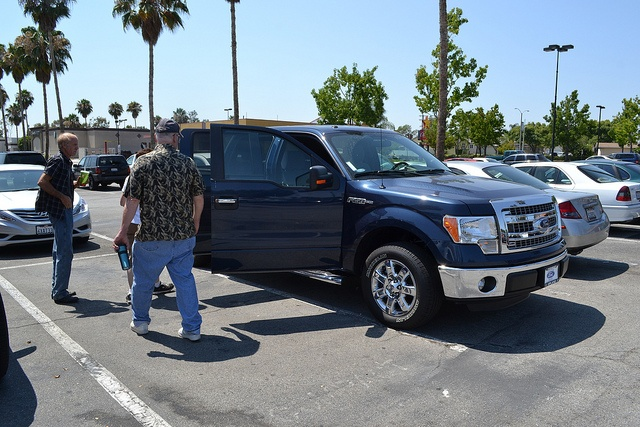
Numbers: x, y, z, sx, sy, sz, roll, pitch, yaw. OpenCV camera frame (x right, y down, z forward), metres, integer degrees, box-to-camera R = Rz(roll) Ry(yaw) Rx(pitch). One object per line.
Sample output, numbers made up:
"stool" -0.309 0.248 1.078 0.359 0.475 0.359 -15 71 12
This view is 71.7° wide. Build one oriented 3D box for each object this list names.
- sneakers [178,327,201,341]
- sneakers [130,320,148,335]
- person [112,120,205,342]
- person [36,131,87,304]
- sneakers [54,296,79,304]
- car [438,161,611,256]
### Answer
"sneakers" -1.561 1.426 5.301 0.306 0.128 0.114 10 11 39
"sneakers" -2.247 1.393 5.473 0.110 0.107 0.264 -2 9 -35
"person" -1.882 0.225 5.250 0.941 2.526 0.559 1 13 7
"person" -3.815 0.059 6.531 0.632 2.413 0.910 -8 15 -29
"sneakers" -3.672 1.252 6.426 0.336 0.130 0.125 -2 6 -12
"car" 3.463 -0.107 8.947 3.966 1.228 1.850 12 13 42
